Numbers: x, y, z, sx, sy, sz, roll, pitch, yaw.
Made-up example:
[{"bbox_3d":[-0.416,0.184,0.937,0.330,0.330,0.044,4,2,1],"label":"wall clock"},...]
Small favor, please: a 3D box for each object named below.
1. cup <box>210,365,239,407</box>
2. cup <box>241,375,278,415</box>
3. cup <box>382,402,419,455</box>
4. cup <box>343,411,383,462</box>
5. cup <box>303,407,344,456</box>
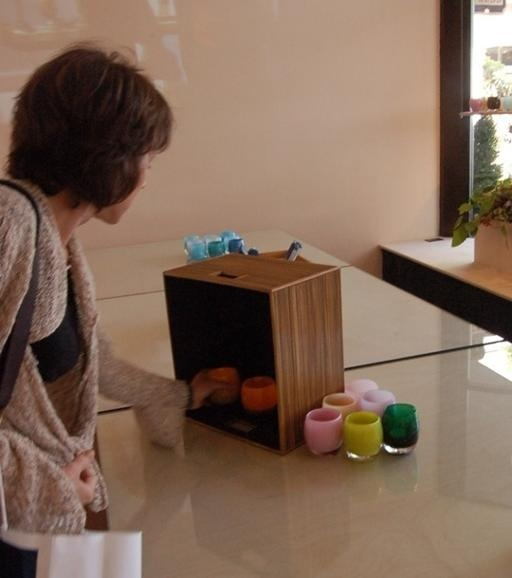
[{"bbox_3d":[-0.055,0.192,0.929,0.047,0.058,0.058,0,-8,-4],"label":"cup"},{"bbox_3d":[0.005,0.198,0.888,0.069,0.049,0.067,-5,-4,0],"label":"cup"},{"bbox_3d":[0.216,0.212,0.760,0.062,0.082,0.066,1,-3,0],"label":"cup"},{"bbox_3d":[0.155,0.215,0.725,0.065,0.062,0.065,-2,11,0],"label":"cup"},{"bbox_3d":[0.102,0.216,0.750,0.064,0.062,0.064,-2,9,0],"label":"cup"}]
